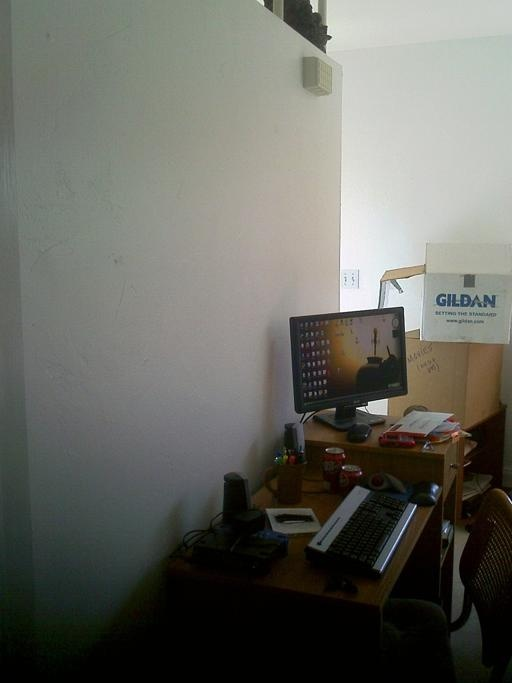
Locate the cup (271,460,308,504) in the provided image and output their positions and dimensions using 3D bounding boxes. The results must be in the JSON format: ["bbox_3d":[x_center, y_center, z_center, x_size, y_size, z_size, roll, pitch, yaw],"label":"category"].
[{"bbox_3d":[0.088,0.385,1.689,0.066,0.117,0.109,-1,0,-11],"label":"cup"}]

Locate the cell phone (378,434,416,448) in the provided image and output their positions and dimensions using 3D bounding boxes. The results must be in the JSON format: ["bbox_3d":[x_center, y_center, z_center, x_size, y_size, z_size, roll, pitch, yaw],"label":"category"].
[{"bbox_3d":[0.425,0.301,1.883,0.107,0.027,0.070,0,14,12],"label":"cell phone"}]

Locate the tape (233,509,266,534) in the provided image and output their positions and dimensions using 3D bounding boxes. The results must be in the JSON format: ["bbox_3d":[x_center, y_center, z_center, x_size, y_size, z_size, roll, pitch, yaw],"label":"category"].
[{"bbox_3d":[-0.020,0.400,1.414,0.040,0.028,0.058,3,9,26],"label":"tape"}]

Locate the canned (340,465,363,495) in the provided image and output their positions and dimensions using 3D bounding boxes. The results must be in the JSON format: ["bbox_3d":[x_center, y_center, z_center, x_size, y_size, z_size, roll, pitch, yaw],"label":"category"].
[{"bbox_3d":[0.257,0.382,1.736,0.065,0.114,0.067,1,-5,5],"label":"canned"}]

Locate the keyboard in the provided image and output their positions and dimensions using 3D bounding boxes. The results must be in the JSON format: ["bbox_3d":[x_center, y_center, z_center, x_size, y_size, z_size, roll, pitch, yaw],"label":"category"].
[{"bbox_3d":[0.244,0.442,1.454,0.104,0.047,0.243,3,12,25],"label":"keyboard"}]

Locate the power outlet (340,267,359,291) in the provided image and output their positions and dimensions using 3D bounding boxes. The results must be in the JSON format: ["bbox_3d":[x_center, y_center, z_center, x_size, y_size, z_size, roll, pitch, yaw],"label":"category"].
[{"bbox_3d":[0.550,-0.366,3.668,0.113,0.117,0.028,6,15,34],"label":"power outlet"}]

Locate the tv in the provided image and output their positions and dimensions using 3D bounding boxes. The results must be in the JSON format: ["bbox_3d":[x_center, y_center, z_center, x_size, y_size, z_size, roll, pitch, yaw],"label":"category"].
[{"bbox_3d":[0.297,0.089,2.072,0.360,0.328,0.147,-8,8,-33],"label":"tv"}]

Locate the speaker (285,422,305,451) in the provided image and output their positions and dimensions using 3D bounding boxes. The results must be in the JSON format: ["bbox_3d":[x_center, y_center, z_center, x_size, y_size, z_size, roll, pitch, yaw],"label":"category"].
[{"bbox_3d":[0.109,0.270,1.822,0.055,0.111,0.106,-1,3,-3],"label":"speaker"}]

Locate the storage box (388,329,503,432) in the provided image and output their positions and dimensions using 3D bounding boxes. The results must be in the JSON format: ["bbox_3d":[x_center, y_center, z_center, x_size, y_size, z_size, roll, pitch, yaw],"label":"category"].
[{"bbox_3d":[0.924,0.007,3.074,0.391,0.542,0.705,5,6,37],"label":"storage box"}]
